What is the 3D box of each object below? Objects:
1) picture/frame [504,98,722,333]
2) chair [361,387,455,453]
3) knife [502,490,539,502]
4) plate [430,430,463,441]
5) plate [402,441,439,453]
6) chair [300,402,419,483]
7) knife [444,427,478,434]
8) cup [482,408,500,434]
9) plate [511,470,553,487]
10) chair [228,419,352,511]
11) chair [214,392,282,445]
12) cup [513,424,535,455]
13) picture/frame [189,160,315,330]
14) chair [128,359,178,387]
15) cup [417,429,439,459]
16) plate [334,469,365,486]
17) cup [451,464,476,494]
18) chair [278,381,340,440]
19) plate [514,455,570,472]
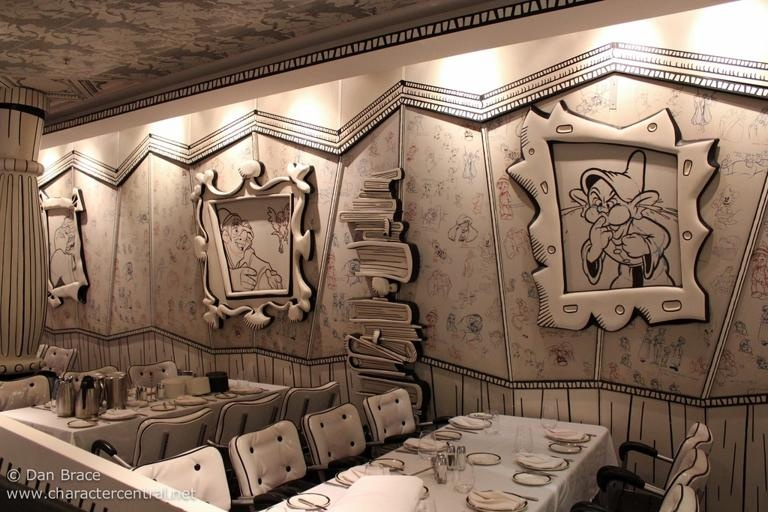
[{"bbox_3d":[2.076,-0.355,5.208,1.957,2.298,0.170,-2,-1,30],"label":"picture/frame"},{"bbox_3d":[0.195,1.441,5.374,0.535,0.614,0.556,-2,-7,-37],"label":"chair"},{"bbox_3d":[0.917,1.615,4.020,0.034,0.015,0.259,1,1,-40],"label":"knife"},{"bbox_3d":[0.499,1.466,4.883,0.161,0.029,0.166,-2,-3,27],"label":"plate"},{"bbox_3d":[0.293,1.426,4.463,0.189,0.029,0.185,-3,-3,22],"label":"plate"},{"bbox_3d":[-0.233,1.513,4.986,0.594,0.816,0.633,-3,-5,-45],"label":"chair"},{"bbox_3d":[0.659,1.482,5.092,0.242,0.019,0.032,1,4,37],"label":"knife"},{"bbox_3d":[0.909,1.412,5.049,0.131,0.202,0.130,-1,-8,0],"label":"cup"},{"bbox_3d":[1.053,1.582,4.267,0.270,0.064,0.206,-3,-8,16],"label":"plate"},{"bbox_3d":[-0.856,1.590,4.694,0.692,0.879,0.715,-3,-11,-44],"label":"chair"},{"bbox_3d":[-1.251,1.450,5.389,0.393,0.535,0.412,-2,10,-45],"label":"chair"},{"bbox_3d":[1.118,1.437,4.711,0.170,0.261,0.180,-2,-4,0],"label":"cup"},{"bbox_3d":[-1.506,-0.144,6.964,1.920,2.057,0.176,-1,-1,34],"label":"picture/frame"},{"bbox_3d":[-2.770,1.387,7.091,0.393,0.448,0.359,3,-24,-27],"label":"chair"},{"bbox_3d":[0.309,1.367,4.359,0.143,0.212,0.151,-1,-4,0],"label":"cup"},{"bbox_3d":[-0.253,1.544,4.185,0.117,0.025,0.116,-1,-2,-37],"label":"plate"},{"bbox_3d":[0.536,1.524,4.073,0.161,0.243,0.168,-5,-6,-1],"label":"cup"},{"bbox_3d":[-0.717,1.378,5.662,0.419,0.638,0.452,5,5,44],"label":"chair"},{"bbox_3d":[1.177,1.529,4.454,0.391,0.097,0.192,-2,-8,10],"label":"plate"}]
